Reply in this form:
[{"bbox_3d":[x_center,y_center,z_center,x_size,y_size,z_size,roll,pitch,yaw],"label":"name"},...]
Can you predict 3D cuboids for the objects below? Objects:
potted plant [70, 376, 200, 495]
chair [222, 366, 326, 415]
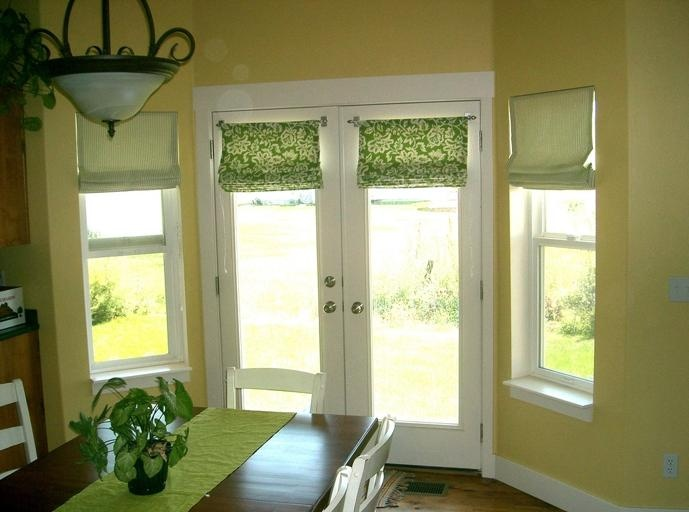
[{"bbox_3d":[-0.849,0.642,2.361,0.487,0.424,0.490,0,-6,-18],"label":"potted plant"},{"bbox_3d":[-0.400,0.776,3.365,0.473,0.434,0.207,2,-5,10],"label":"chair"}]
